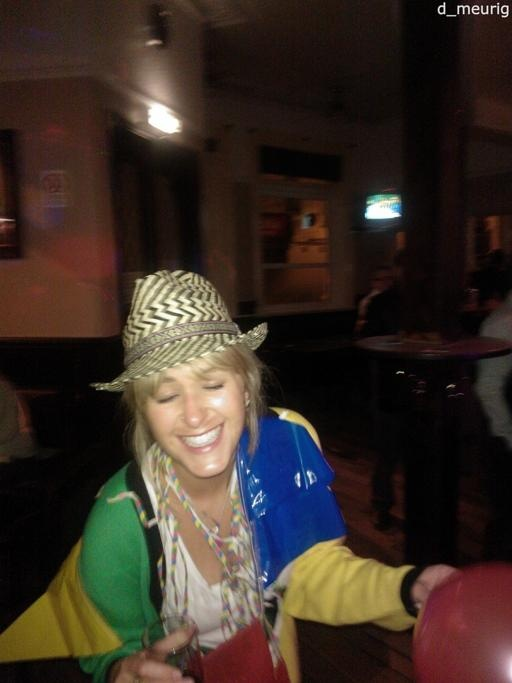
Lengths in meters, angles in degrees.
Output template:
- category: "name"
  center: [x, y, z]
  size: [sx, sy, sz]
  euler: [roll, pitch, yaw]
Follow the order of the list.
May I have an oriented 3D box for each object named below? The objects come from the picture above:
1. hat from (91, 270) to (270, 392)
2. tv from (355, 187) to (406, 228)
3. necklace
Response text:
- category: "hat"
  center: [-0.181, -0.034, 1.381]
  size: [0.305, 0.261, 0.186]
  euler: [-1, 6, -11]
- category: "tv"
  center: [1.183, -1.295, 5.773]
  size: [0.443, 0.400, 0.630]
  euler: [1, 5, 9]
- category: "necklace"
  center: [-0.146, 0.422, 1.534]
  size: [0.164, 0.191, 0.073]
  euler: [-19, -2, -11]
